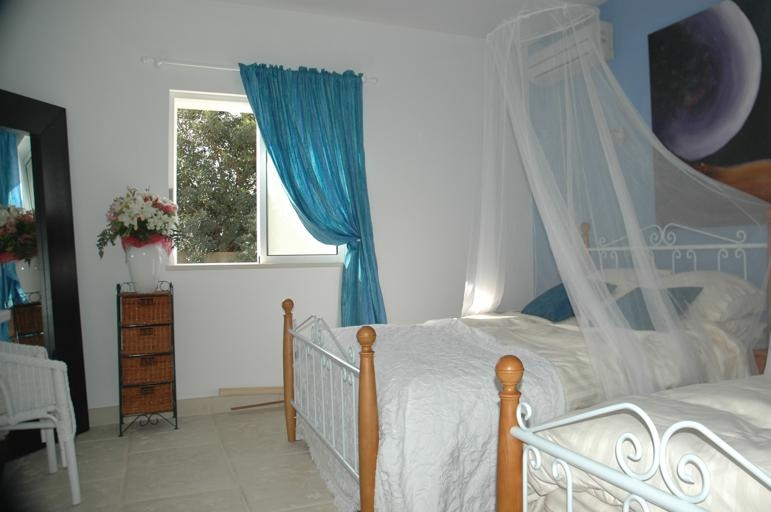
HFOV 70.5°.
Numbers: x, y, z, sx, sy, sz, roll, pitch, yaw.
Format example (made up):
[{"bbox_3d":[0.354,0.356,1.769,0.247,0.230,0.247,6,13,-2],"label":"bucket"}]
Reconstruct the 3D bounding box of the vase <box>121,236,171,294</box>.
[{"bbox_3d":[-1.854,0.079,4.309,0.414,0.606,0.390,0,0,-21],"label":"vase"}]

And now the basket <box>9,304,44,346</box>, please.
[{"bbox_3d":[-2.523,0.486,3.834,0.166,0.305,0.295,-2,-1,0],"label":"basket"}]

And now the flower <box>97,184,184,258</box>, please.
[{"bbox_3d":[-1.919,-0.252,4.315,0.548,0.523,0.571,0,2,-18],"label":"flower"}]

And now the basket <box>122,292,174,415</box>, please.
[{"bbox_3d":[-1.795,0.731,4.109,0.391,0.896,0.208,-3,11,-14],"label":"basket"}]
